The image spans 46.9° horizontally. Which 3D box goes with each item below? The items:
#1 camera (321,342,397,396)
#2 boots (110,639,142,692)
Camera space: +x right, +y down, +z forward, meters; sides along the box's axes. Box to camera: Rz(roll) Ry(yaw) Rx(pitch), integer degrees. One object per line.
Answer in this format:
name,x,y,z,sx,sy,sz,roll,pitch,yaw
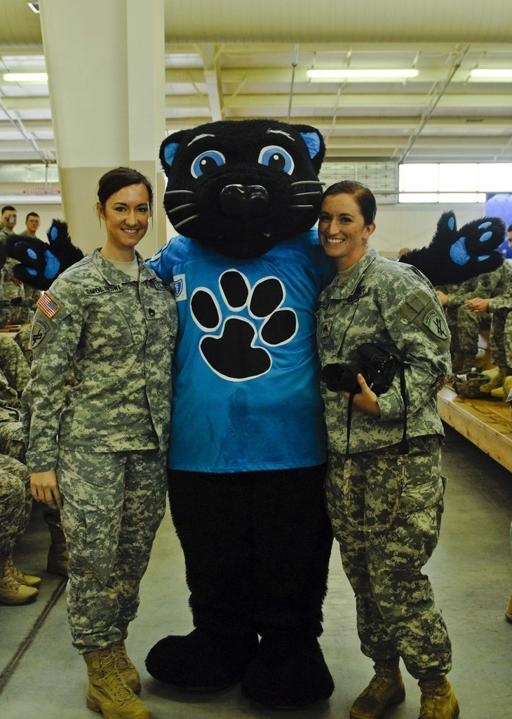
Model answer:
camera,0.250,0.008,1.391,0.207,0.084,0.158,1,17,15
boots,-0.376,0.875,1.734,0.059,0.062,0.166,-19,41,-22
